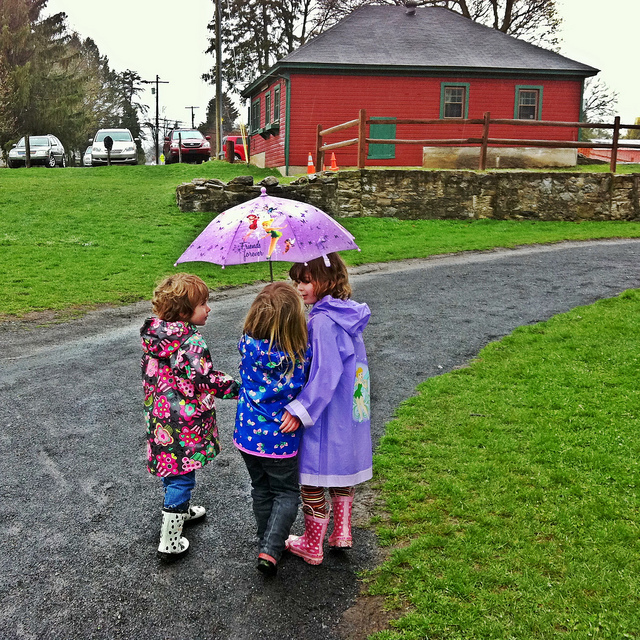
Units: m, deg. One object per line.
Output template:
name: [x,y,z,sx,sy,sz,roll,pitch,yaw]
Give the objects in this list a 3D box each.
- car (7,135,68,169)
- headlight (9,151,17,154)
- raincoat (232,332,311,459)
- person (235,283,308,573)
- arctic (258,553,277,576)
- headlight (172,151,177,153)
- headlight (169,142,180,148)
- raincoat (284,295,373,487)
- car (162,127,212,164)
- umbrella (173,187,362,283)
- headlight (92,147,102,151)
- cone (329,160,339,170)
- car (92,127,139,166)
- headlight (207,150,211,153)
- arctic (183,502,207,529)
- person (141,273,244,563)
car: [-10.551,-6.003,27.356,1.403,1.175,2.896,0,5,-1]
headlight: [-11.218,-5.928,27.127,0.141,0.070,0.154,0,2,1]
raincoat: [-0.277,0.374,4.013,0.359,0.657,0.332,8,5,23]
person: [-0.249,0.568,3.953,0.411,1.457,0.412,-4,14,-10]
arctic: [-0.282,1.282,3.974,0.088,0.093,0.112,27,8,-6]
headlight: [-6.014,-6.712,30.613,0.055,0.068,0.569,-8,17,-26]
headlight: [-5.987,-6.944,30.466,0.359,0.313,0.629,-1,14,-9]
raincoat: [0.067,0.427,3.981,0.372,1.104,0.396,3,12,9]
car: [-5.713,-7.077,31.274,1.508,1.433,4.202,-6,16,-16]
umbrella: [-0.297,-0.314,4.308,0.805,0.732,0.845,-4,-4,-5]
headlight: [-8.137,-6.020,27.007,0.253,0.125,0.094,1,9,23]
cone: [0.317,-3.624,17.989,0.251,0.320,0.197,-4,15,0]
car: [-7.625,-6.119,27.388,1.569,1.168,2.046,-6,16,-18]
headlight: [-4.471,-6.554,29.776,0.071,0.105,0.167,4,16,21]
arctic: [-0.766,1.181,4.578,0.089,0.096,0.211,5,13,19]
person: [-0.733,0.530,4.177,0.490,1.504,0.376,-5,14,-16]
